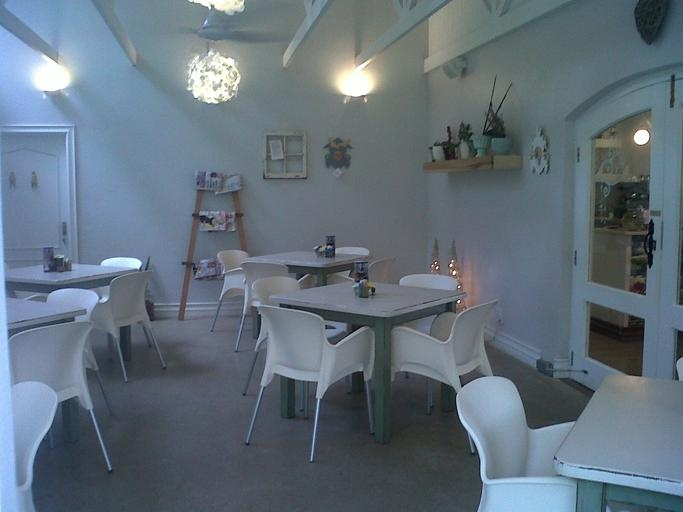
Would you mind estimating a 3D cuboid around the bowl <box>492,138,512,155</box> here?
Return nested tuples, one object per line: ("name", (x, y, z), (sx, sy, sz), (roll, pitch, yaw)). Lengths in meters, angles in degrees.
("bowl", (1.490, -1.014, 4.720), (0.144, 0.138, 0.155), (-4, 6, 0))

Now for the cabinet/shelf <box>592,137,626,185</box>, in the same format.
("cabinet/shelf", (2.132, -0.752, 3.875), (0.307, 0.341, 0.188), (0, 16, -20))

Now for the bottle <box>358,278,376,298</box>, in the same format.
("bottle", (0.173, 0.218, 3.558), (0.136, 0.149, 0.075), (4, -6, -45))

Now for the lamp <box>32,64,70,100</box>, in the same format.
("lamp", (-3.423, -2.070, 5.989), (0.322, 0.388, 0.211), (0, 9, -9))

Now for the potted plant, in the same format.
("potted plant", (1.292, -1.203, 5.152), (0.289, 0.488, 1.036), (-1, 3, -21))

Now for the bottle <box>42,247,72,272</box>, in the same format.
("bottle", (-2.559, 0.020, 4.570), (0.194, 0.238, 0.220), (0, 2, -11))

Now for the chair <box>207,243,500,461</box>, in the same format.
("chair", (0.338, 0.673, 3.380), (1.238, 0.931, 0.888), (0, 9, 5))
